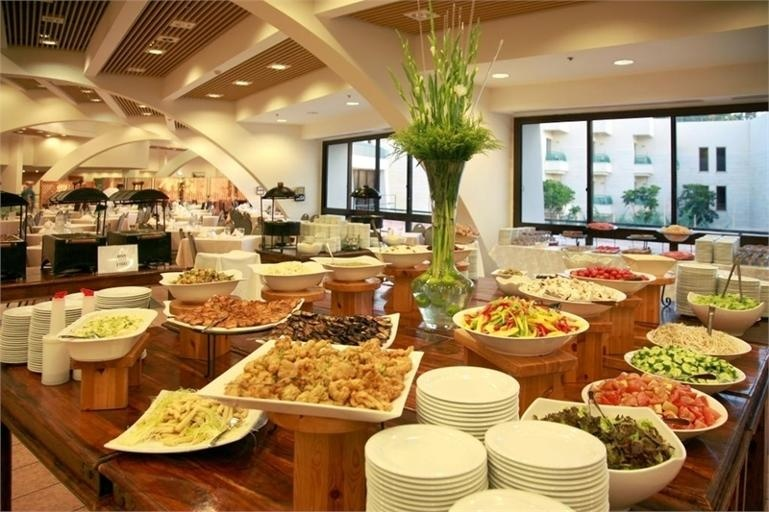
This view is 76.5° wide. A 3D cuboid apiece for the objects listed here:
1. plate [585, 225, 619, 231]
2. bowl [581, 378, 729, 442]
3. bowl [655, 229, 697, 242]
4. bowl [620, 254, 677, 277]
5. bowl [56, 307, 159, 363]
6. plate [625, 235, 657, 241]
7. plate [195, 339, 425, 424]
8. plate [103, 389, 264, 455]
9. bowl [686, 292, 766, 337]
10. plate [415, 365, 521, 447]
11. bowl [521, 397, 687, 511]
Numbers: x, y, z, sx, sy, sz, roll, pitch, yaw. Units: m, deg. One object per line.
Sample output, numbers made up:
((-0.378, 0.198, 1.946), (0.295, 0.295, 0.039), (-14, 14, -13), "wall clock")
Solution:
((2.956, -0.403, 6.611), (0.370, 0.113, 0.377), (2, 7, 21), "plate")
((1.167, 0.583, 1.902), (0.348, 0.073, 0.334), (-2, 3, 0), "bowl")
((3.357, -0.267, 5.644), (0.275, 0.083, 0.254), (-1, 2, 0), "bowl")
((1.687, 0.045, 3.058), (0.250, 0.077, 0.172), (0, 5, -6), "bowl")
((-1.178, 0.328, 2.143), (0.335, 0.091, 0.435), (1, 9, -5), "bowl")
((3.181, -0.231, 5.987), (0.254, 0.075, 0.429), (4, 8, 32), "plate")
((-0.277, 0.433, 1.731), (0.686, 0.077, 0.698), (3, 10, -12), "plate")
((-0.743, 0.648, 1.856), (0.399, 0.065, 0.387), (4, 16, 10), "plate")
((1.997, 0.310, 2.885), (0.395, 0.204, 0.353), (2, -1, -4), "bowl")
((0.271, 0.476, 1.638), (0.251, 0.090, 0.232), (-1, 5, -6), "plate")
((0.715, 0.637, 1.603), (0.453, 0.168, 0.371), (4, 4, 31), "bowl")
